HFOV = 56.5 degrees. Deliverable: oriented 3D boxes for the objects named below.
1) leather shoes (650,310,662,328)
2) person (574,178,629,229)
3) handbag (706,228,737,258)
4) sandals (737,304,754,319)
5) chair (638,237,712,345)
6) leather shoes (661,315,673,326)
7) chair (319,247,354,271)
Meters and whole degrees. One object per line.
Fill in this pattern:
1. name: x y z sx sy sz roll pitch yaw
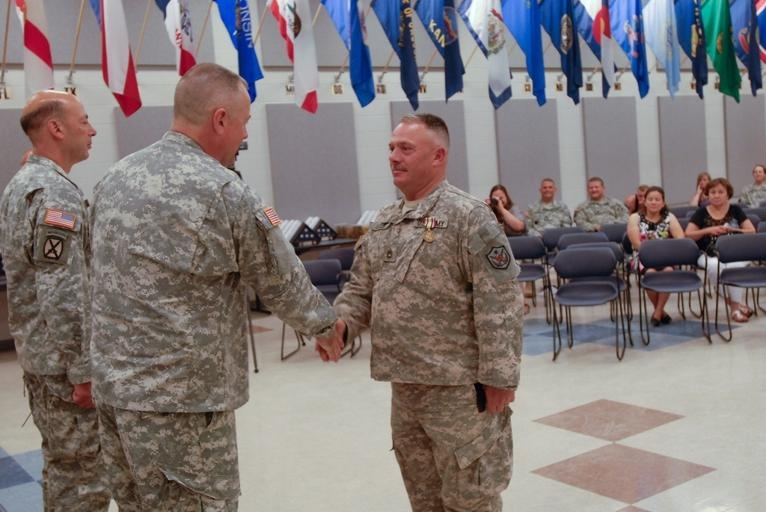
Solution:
1. leather shoes: 3.157 0.741 8.226 0.134 0.141 0.367 -3 -10 13
2. person: 3.448 -0.800 11.362 0.868 0.824 0.523 -9 8 4
3. handbag: 3.903 -0.146 8.181 0.354 0.332 0.188 0 -6 -1
4. sandals: 4.216 0.667 8.281 0.133 0.092 0.215 -7 28 -1
5. chair: 3.315 0.350 8.172 0.752 0.895 1.752 -4 1 24
6. leather shoes: 3.295 0.757 8.283 0.098 0.114 0.291 -4 -7 19
7. chair: -0.574 0.016 8.973 0.347 0.447 0.387 -1 -4 5
